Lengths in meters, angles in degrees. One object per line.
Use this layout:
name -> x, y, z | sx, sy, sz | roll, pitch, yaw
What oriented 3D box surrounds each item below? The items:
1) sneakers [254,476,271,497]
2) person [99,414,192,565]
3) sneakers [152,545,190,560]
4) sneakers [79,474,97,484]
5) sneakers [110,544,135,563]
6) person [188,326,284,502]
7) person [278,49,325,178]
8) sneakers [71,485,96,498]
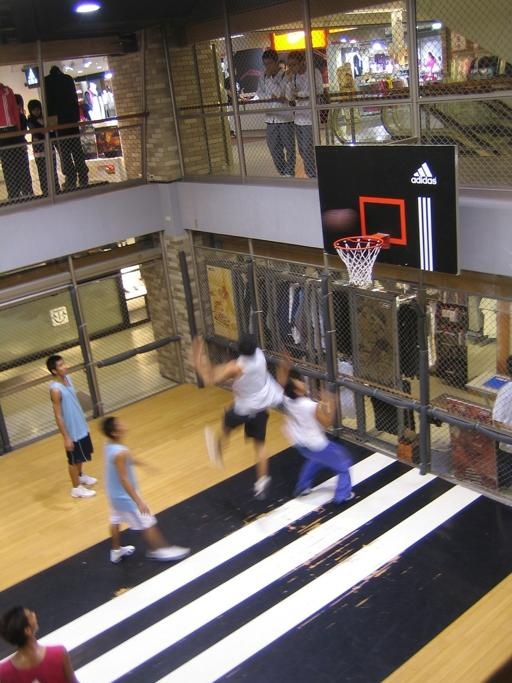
sneakers -> 0.081, 1.549, 5.606 | 0.140, 0.222, 0.123 | -29, 59, -21
person -> -1.102, 1.554, 5.358 | 0.651, 1.442, 0.663 | -29, 53, -26
sneakers -> -0.767, 1.937, 4.836 | 0.330, 0.115, 0.126 | -2, 14, 12
sneakers -> -1.979, 1.632, 6.263 | 0.190, 0.075, 0.089 | 6, 24, 14
sneakers -> -1.231, 1.942, 4.911 | 0.122, 0.102, 0.252 | 12, 26, 31
person -> -0.144, 0.698, 5.410 | 0.957, 1.463, 0.702 | 4, 17, 4
person -> 0.622, -2.693, 6.247 | 0.441, 1.439, 0.717 | -7, 18, 6
sneakers -> -1.974, 1.739, 6.113 | 0.273, 0.116, 0.131 | 1, 21, 3
